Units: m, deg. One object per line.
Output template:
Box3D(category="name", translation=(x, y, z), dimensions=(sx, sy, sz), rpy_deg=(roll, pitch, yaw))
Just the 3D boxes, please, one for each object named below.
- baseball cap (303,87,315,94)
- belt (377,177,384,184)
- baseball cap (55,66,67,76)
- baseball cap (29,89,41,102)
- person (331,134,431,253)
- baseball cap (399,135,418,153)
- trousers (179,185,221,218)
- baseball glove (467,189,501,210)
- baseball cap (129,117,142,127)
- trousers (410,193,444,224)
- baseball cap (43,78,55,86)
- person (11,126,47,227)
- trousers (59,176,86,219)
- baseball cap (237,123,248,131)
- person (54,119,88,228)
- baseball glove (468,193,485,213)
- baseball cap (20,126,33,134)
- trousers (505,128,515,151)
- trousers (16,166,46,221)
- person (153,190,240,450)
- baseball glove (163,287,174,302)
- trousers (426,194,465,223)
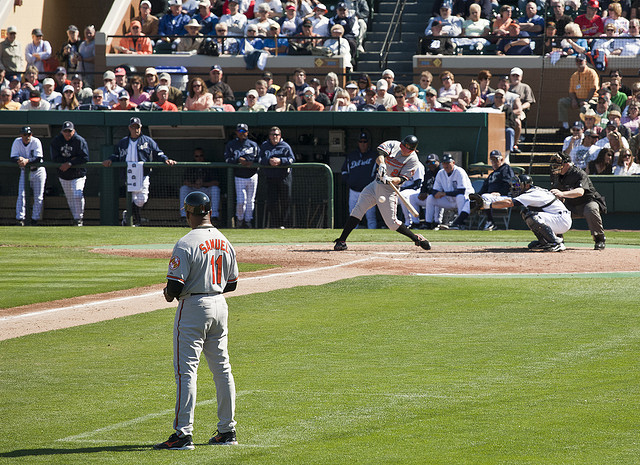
Box3D(category="baseball cap", translation=(-0.238, -3.206, 33.865), dimensions=(0.240, 0.140, 0.285), rpy_deg=(0, 3, -2))
Box3D(category="belt", translation=(1.084, -0.947, 27.178), dimensions=(0.096, 0.063, 0.085), rpy_deg=(8, 36, 11))
Box3D(category="baseball cap", translation=(-6.019, -3.787, 35.184), dimensions=(0.273, 0.118, 0.393), rpy_deg=(1, 5, -12))
Box3D(category="baseball cap", translation=(-6.483, -3.137, 34.483), dimensions=(0.238, 0.241, 0.422), rpy_deg=(-4, 14, -10))
Box3D(category="person", translation=(1.190, -0.641, 27.494), dimensions=(1.579, 2.229, 0.752), rpy_deg=(0, 15, 2))
Box3D(category="baseball cap", translation=(1.618, -1.654, 27.341), dimensions=(0.339, 0.244, 0.328), rpy_deg=(20, -31, -3))
Box3D(category="trousers", translation=(-2.660, -0.728, 32.700), dimensions=(1.062, 0.927, 0.650), rpy_deg=(0, 1, 8))
Box3D(category="baseball glove", translation=(3.157, -0.633, 29.225), dimensions=(0.816, 0.243, 0.340), rpy_deg=(-12, 23, -38))
Box3D(category="baseball cap", translation=(-3.964, -2.409, 32.491), dimensions=(0.187, 0.246, 0.265), rpy_deg=(0, 12, -7))
Box3D(category="trousers", translation=(2.379, -0.448, 32.904), dimensions=(0.870, 0.724, 0.664), rpy_deg=(2, -13, 0))
Box3D(category="baseball cap", translation=(-6.247, -3.490, 34.865), dimensions=(0.263, 0.118, 0.390), rpy_deg=(-1, 9, -12))
Box3D(category="person", translation=(-6.388, -1.220, 33.235), dimensions=(0.722, 2.243, 0.626), rpy_deg=(-4, 16, -10))
Box3D(category="trousers", translation=(-5.422, -0.752, 33.350), dimensions=(0.529, 0.999, 0.334), rpy_deg=(-4, 16, -10))
Box3D(category="baseball cap", translation=(-1.647, -2.312, 32.741), dimensions=(0.232, 0.161, 0.350), rpy_deg=(2, -7, 3))
Box3D(category="person", translation=(-5.407, -1.273, 33.029), dimensions=(0.702, 2.369, 0.602), rpy_deg=(-3, 16, -8))
Box3D(category="baseball glove", translation=(2.923, -0.550, 28.260), dimensions=(0.346, 0.243, 0.771), rpy_deg=(-1, -3, 3))
Box3D(category="baseball cap", translation=(-6.400, -2.254, 33.004), dimensions=(0.200, 0.139, 0.285), rpy_deg=(0, -3, -27))
Box3D(category="trousers", translation=(4.301, -2.123, 34.250), dimensions=(0.291, 0.433, 0.186), rpy_deg=(-5, 13, -37))
Box3D(category="trousers", translation=(-6.353, -0.853, 33.295), dimensions=(0.692, 1.264, 0.321), rpy_deg=(-6, 16, -19))
Box3D(category="person", translation=(-1.602, 1.140, 19.445), dimensions=(1.107, 3.140, 1.187), rpy_deg=(-2, 15, -3))
Box3D(category="baseball glove", translation=(-1.962, 0.808, 19.516), dimensions=(0.182, 0.145, 0.143), rpy_deg=(15, 32, 30))
Box3D(category="trousers", translation=(2.698, -0.519, 32.474), dimensions=(0.280, 0.776, 1.042), rpy_deg=(-13, 18, -36))
